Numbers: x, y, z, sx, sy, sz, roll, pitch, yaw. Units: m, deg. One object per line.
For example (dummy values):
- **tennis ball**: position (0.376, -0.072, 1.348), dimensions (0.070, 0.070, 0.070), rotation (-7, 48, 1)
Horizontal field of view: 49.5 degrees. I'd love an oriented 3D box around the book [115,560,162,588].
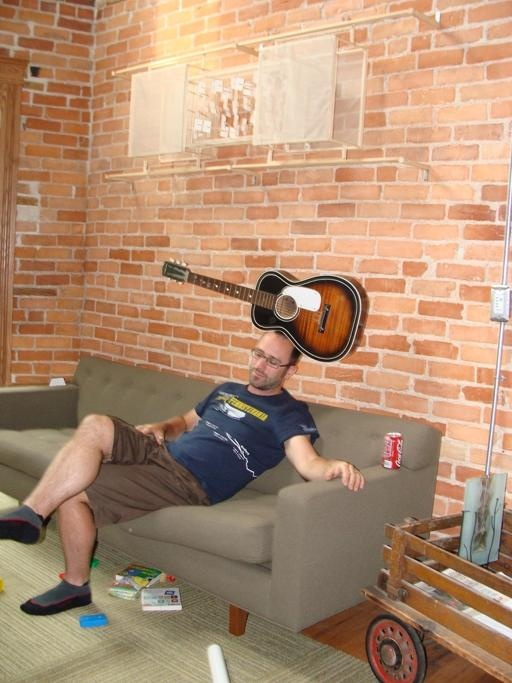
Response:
- **book**: position (-0.436, 0.871, 2.071), dimensions (0.140, 0.029, 0.134), rotation (5, 7, 25)
